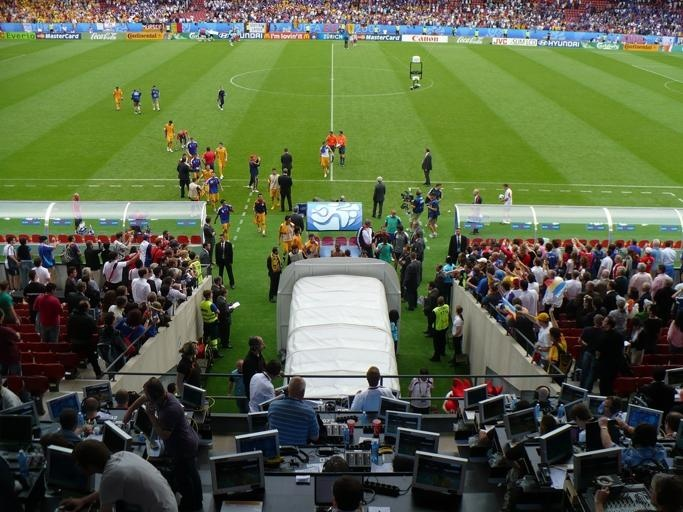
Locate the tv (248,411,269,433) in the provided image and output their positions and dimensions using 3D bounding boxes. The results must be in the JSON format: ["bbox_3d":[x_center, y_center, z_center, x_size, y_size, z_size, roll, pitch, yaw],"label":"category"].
[{"bbox_3d":[-2.000,3.957,22.368,0.561,0.618,0.392,3,-6,-28],"label":"tv"}]

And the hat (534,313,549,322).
[{"bbox_3d":[5.676,1.708,26.087,0.227,0.177,0.309,-11,16,-32],"label":"hat"}]

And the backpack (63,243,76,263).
[{"bbox_3d":[-9.376,-0.105,31.981,0.433,0.603,0.337,14,25,21],"label":"backpack"}]

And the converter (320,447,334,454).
[{"bbox_3d":[-0.354,4.659,22.125,0.220,0.162,0.123,3,-24,1],"label":"converter"}]

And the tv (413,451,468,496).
[{"bbox_3d":[2.262,5.022,21.399,1.203,0.956,0.252,2,16,5],"label":"tv"}]

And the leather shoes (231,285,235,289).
[{"bbox_3d":[-3.867,1.098,33.110,0.107,0.144,0.332,-2,4,-7],"label":"leather shoes"}]

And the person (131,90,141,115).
[{"bbox_3d":[-11.864,-8.913,52.790,0.840,1.081,1.792,-2,23,-12],"label":"person"}]

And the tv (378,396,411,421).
[{"bbox_3d":[1.298,3.919,22.828,0.776,0.708,0.433,5,2,4],"label":"tv"}]

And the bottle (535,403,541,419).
[{"bbox_3d":[4.899,3.852,23.039,0.092,0.361,0.090,-5,41,4],"label":"bottle"}]

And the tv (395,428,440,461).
[{"bbox_3d":[1.761,4.431,21.723,0.686,0.519,0.118,6,14,8],"label":"tv"}]

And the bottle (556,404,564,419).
[{"bbox_3d":[5.512,3.903,23.229,0.212,0.379,0.197,-4,17,1],"label":"bottle"}]
